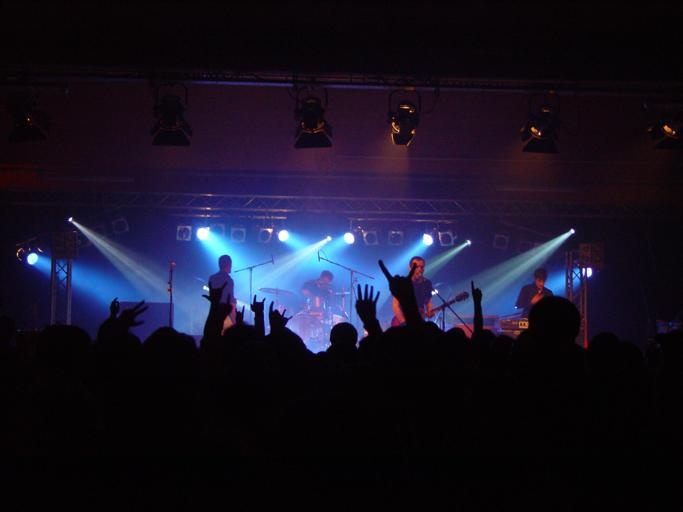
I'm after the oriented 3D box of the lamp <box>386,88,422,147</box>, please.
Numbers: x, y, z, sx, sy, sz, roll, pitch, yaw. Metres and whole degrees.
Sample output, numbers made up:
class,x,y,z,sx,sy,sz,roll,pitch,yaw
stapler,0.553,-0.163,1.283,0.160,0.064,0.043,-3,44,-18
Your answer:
class,x,y,z,sx,sy,sz,roll,pitch,yaw
lamp,0.751,-1.694,8.750,0.400,0.682,0.324,1,13,2

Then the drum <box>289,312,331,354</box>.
class,x,y,z,sx,sy,sz,roll,pitch,yaw
drum,-0.565,1.240,12.003,0.803,0.883,0.797,-1,-8,11

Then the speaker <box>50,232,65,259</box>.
class,x,y,z,sx,sy,sz,roll,pitch,yaw
speaker,-4.294,-0.177,11.031,0.222,0.378,0.153,10,-26,-21

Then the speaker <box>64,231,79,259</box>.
class,x,y,z,sx,sy,sz,roll,pitch,yaw
speaker,-4.145,-0.184,11.113,0.136,0.421,0.270,-4,-25,10

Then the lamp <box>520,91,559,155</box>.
class,x,y,z,sx,sy,sz,roll,pitch,yaw
lamp,2.419,-1.680,8.666,0.484,0.354,0.832,2,-42,5

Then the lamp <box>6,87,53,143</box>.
class,x,y,z,sx,sy,sz,roll,pitch,yaw
lamp,-3.804,-1.701,8.710,0.379,0.494,0.661,-3,-25,8
